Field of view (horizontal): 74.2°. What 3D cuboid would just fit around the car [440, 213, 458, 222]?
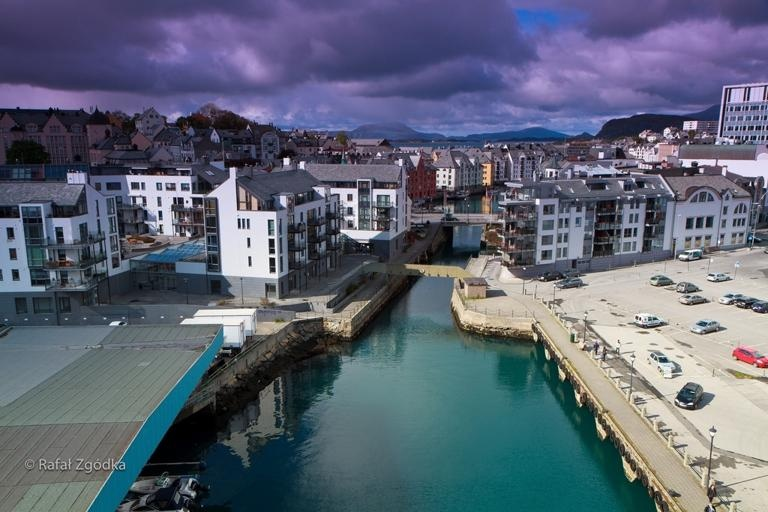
[{"bbox_3d":[17.540,-10.745,139.622,4.038,1.529,5.102,3,13,10],"label":"car"}]

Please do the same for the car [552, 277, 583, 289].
[{"bbox_3d":[32.201,4.615,88.108,4.558,1.305,2.094,-2,7,-16],"label":"car"}]

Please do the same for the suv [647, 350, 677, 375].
[{"bbox_3d":[34.175,13.093,61.475,2.357,1.815,3.405,-3,8,4],"label":"suv"}]

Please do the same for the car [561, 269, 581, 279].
[{"bbox_3d":[33.799,3.201,91.532,2.651,1.011,1.703,2,5,27],"label":"car"}]

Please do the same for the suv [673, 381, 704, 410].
[{"bbox_3d":[33.374,15.196,55.367,3.313,2.082,1.798,-10,11,-38],"label":"suv"}]

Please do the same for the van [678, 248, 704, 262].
[{"bbox_3d":[60.281,-0.237,99.381,4.831,1.681,2.410,-1,1,-23],"label":"van"}]

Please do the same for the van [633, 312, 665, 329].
[{"bbox_3d":[38.314,9.185,73.131,3.985,1.589,2.082,-6,13,-11],"label":"van"}]

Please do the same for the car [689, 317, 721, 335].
[{"bbox_3d":[45.033,9.833,71.016,4.171,1.589,1.522,-6,9,-19],"label":"car"}]

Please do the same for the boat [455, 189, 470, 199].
[{"bbox_3d":[33.109,-26.206,213.596,2.986,3.111,10.497,1,5,16],"label":"boat"}]
